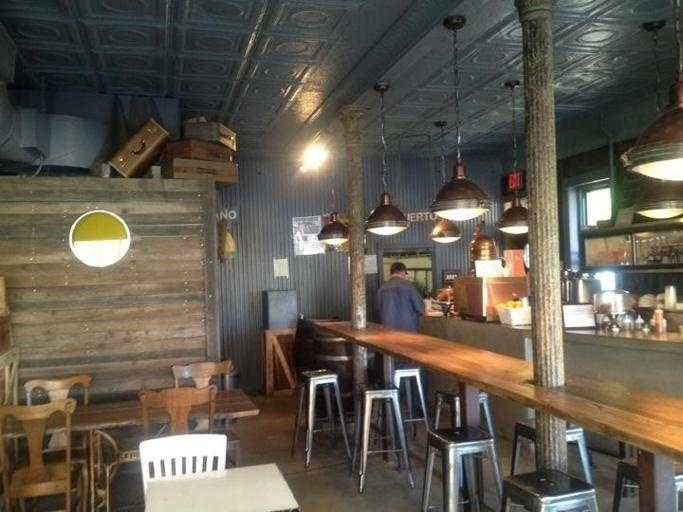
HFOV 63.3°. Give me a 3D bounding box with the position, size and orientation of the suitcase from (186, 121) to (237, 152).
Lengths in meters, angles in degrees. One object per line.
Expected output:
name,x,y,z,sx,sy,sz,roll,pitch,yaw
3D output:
suitcase,-1.531,-1.301,6.408,0.382,0.194,0.506,0,1,22

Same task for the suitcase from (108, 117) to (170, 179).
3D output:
suitcase,-2.240,-1.200,6.190,0.233,0.687,0.630,-1,3,43

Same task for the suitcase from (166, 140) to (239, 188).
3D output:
suitcase,-1.590,-1.051,6.185,0.804,0.476,0.381,-3,2,-16

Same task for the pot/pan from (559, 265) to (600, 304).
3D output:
pot/pan,2.655,0.343,6.317,0.542,0.355,0.281,-3,2,-28

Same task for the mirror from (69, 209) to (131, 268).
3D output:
mirror,-2.456,-0.175,5.666,0.597,0.599,0.249,-4,3,-25
